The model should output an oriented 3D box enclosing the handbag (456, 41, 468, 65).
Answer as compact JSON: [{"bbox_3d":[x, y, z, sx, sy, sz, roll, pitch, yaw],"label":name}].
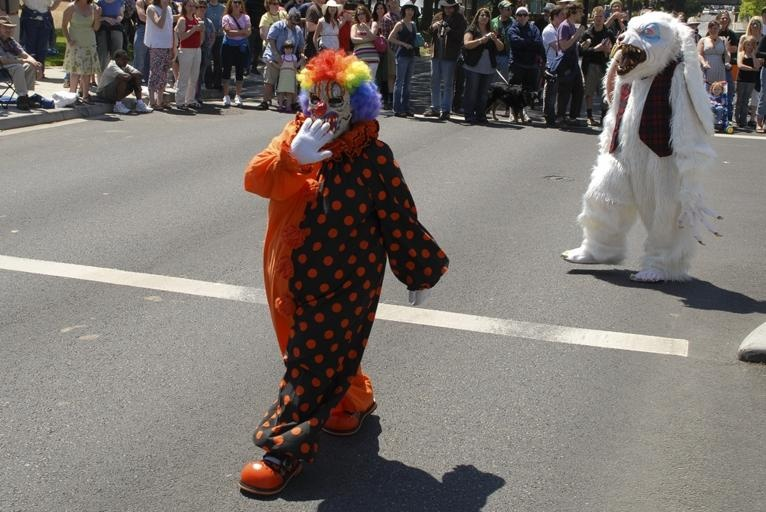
[{"bbox_3d":[1.651,-4.382,14.115,0.226,0.349,0.441,3,-19,-5],"label":"handbag"}]

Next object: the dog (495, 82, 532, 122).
[{"bbox_3d":[2.819,-3.419,14.751,1.266,0.780,0.446,18,16,35],"label":"dog"}]

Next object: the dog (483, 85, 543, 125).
[{"bbox_3d":[2.939,-3.438,14.992,0.446,0.998,1.621,-3,22,-21],"label":"dog"}]

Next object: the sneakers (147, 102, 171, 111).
[{"bbox_3d":[-4.810,-3.253,14.224,0.538,0.257,0.184,-3,15,-10],"label":"sneakers"}]

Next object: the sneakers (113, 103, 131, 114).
[{"bbox_3d":[-5.377,-3.044,13.539,0.431,0.211,0.159,11,21,30],"label":"sneakers"}]

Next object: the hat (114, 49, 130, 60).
[{"bbox_3d":[-5.288,-4.028,13.314,0.300,0.302,0.246,-10,29,-23],"label":"hat"}]
